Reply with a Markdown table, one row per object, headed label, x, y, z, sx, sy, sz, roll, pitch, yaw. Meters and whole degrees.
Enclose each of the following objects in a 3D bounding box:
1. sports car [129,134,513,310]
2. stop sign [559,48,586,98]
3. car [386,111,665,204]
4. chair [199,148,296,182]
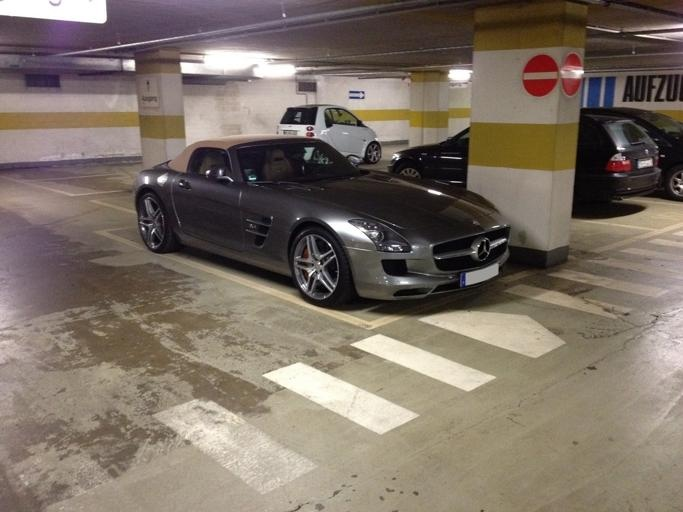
| label | x | y | z | sx | sy | sz | roll | pitch | yaw |
| --- | --- | --- | --- | --- | --- | --- | --- | --- | --- |
| sports car | -0.601 | -0.721 | 6.281 | 5.568 | 2.027 | 2.130 | 9 | 18 | 37 |
| stop sign | 3.248 | -2.526 | 6.010 | 0.113 | 0.591 | 0.681 | 13 | 20 | 41 |
| car | 4.114 | -2.191 | 10.763 | 6.215 | 1.772 | 2.728 | 9 | 17 | 28 |
| chair | -1.372 | -1.243 | 6.094 | 1.063 | 0.280 | 0.685 | 12 | 21 | 31 |
